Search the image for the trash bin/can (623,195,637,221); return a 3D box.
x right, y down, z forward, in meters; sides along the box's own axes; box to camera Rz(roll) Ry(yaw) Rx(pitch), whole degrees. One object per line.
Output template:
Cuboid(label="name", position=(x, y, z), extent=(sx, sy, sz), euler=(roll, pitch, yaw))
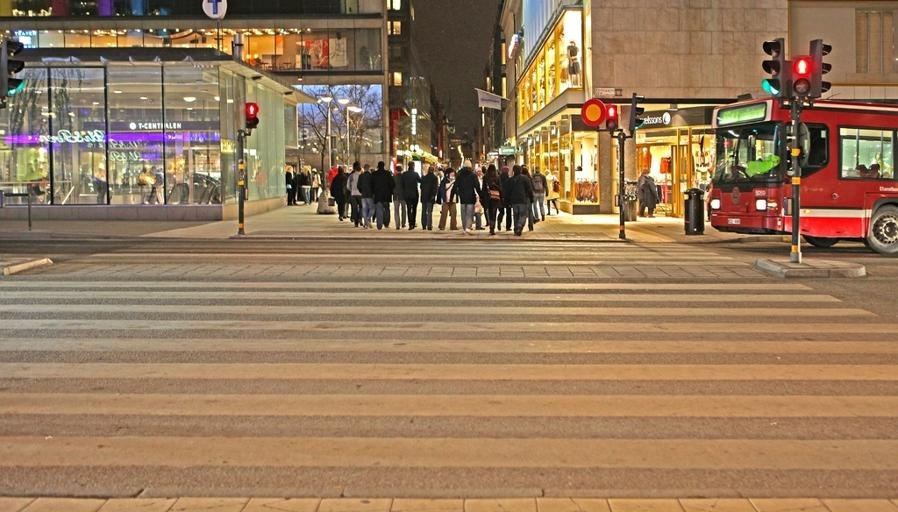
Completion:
Cuboid(label="trash bin/can", position=(7.697, -1.982, 35.412), extent=(0.494, 1.004, 0.593), euler=(3, 15, 10))

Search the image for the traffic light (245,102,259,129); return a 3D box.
Cuboid(label="traffic light", position=(-6.620, -4.644, 28.071), extent=(0.377, 0.907, 1.181), euler=(-2, 16, -10))

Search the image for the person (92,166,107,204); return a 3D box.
Cuboid(label="person", position=(-14.507, -2.910, 34.905), extent=(0.591, 1.442, 0.422), euler=(-2, 15, -8))

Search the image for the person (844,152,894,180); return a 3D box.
Cuboid(label="person", position=(11.423, -2.394, 22.880), extent=(0.969, 0.392, 0.945), euler=(0, 5, 9))

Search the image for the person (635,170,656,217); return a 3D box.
Cuboid(label="person", position=(8.782, -2.748, 37.099), extent=(0.902, 2.165, 1.193), euler=(4, 16, 14))

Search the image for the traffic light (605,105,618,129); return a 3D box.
Cuboid(label="traffic light", position=(5.243, -4.411, 27.063), extent=(0.359, 0.838, 0.538), euler=(3, 15, 9))

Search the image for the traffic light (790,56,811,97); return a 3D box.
Cuboid(label="traffic light", position=(7.989, -4.027, 18.942), extent=(0.493, 0.860, 0.335), euler=(-6, 16, -23))

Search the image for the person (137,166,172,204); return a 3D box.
Cuboid(label="person", position=(-12.354, -2.926, 34.952), extent=(1.234, 1.509, 0.340), euler=(3, 15, 8))

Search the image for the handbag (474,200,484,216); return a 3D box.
Cuboid(label="handbag", position=(1.003, -1.657, 28.787), extent=(0.548, 0.602, 0.323), euler=(1, -8, 2))
